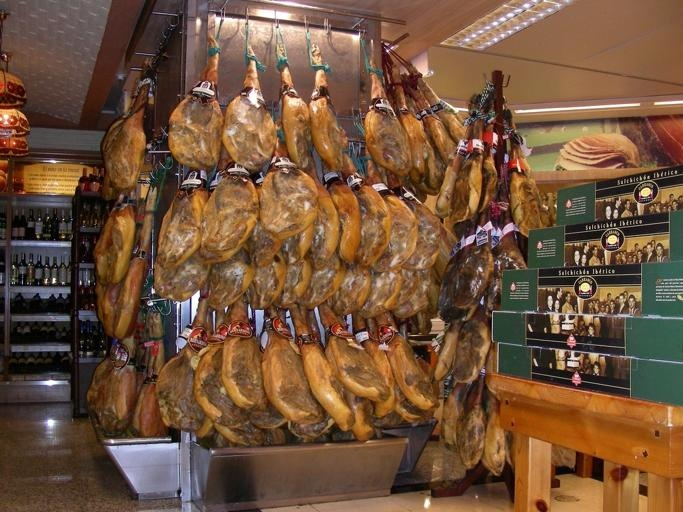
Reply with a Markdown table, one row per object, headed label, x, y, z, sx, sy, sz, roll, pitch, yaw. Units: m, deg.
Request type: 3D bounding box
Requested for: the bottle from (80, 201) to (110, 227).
| label | x | y | z | sx | sy | sz | roll | pitch | yaw |
| --- | --- | --- | --- | --- | --- | --- | --- | --- | --- |
| bottle | -2.786 | -0.482 | 5.894 | 0.299 | 0.190 | 0.203 | 2 | -1 | -16 |
